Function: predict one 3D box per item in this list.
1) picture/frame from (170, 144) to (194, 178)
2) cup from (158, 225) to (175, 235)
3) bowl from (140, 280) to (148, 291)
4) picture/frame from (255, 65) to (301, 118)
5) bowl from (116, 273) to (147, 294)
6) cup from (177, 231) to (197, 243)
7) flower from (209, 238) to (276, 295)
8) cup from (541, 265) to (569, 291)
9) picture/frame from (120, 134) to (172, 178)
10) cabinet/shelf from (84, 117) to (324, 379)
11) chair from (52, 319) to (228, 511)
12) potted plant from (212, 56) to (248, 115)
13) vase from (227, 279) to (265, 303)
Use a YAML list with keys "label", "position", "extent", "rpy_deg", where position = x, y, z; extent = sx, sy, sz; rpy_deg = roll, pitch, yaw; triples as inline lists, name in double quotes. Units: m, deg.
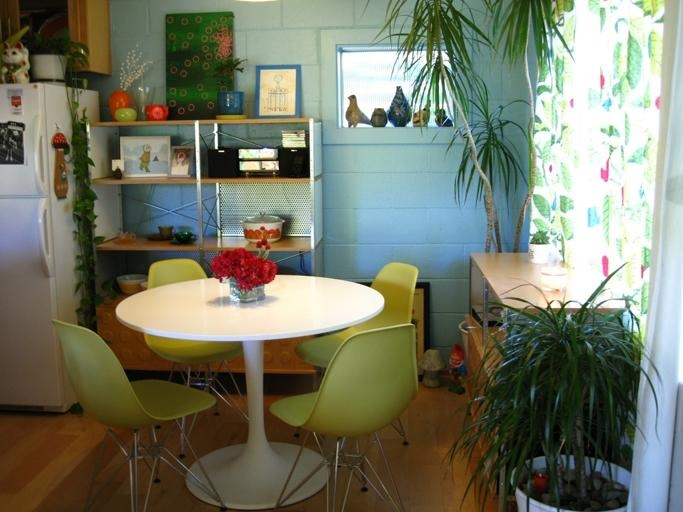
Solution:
- label: "picture/frame"
  position: [-1.224, -0.715, 4.342]
  extent: [0.235, 0.331, 0.024]
  rpy_deg: [0, -15, 3]
- label: "cup"
  position: [-1.352, -0.192, 4.398]
  extent: [0.075, 0.064, 0.091]
  rpy_deg: [9, 22, 20]
- label: "bowl"
  position: [-1.492, 0.228, 4.268]
  extent: [0.069, 0.048, 0.061]
  rpy_deg: [-11, 21, -37]
- label: "picture/frame"
  position: [-0.471, -1.239, 4.310]
  extent: [0.436, 0.553, 0.040]
  rpy_deg: [0, 3, 2]
- label: "bowl"
  position: [-1.610, 0.216, 4.392]
  extent: [0.174, 0.096, 0.181]
  rpy_deg: [1, 5, 0]
- label: "cup"
  position: [-1.183, -0.134, 4.304]
  extent: [0.147, 0.093, 0.124]
  rpy_deg: [-5, 11, -17]
- label: "flower"
  position: [-0.508, 0.049, 2.965]
  extent: [0.278, 0.215, 0.286]
  rpy_deg: [2, 9, -21]
- label: "cup"
  position: [1.111, 0.111, 2.938]
  extent: [0.116, 0.109, 0.118]
  rpy_deg: [-2, 14, 0]
- label: "picture/frame"
  position: [-1.516, -0.760, 4.385]
  extent: [0.316, 0.285, 0.021]
  rpy_deg: [0, -8, -1]
- label: "cabinet/shelf"
  position: [-0.906, -0.088, 3.832]
  extent: [1.846, 2.286, 0.648]
  rpy_deg: [1, 5, 5]
- label: "chair"
  position: [-0.998, 0.747, 2.930]
  extent: [0.677, 1.059, 0.839]
  rpy_deg: [-4, 11, -12]
- label: "potted plant"
  position: [-0.826, -1.284, 4.263]
  extent: [0.230, 0.467, 0.334]
  rpy_deg: [-4, 11, -11]
- label: "vase"
  position: [-0.498, 0.173, 2.989]
  extent: [0.132, 0.092, 0.137]
  rpy_deg: [2, 3, -2]
